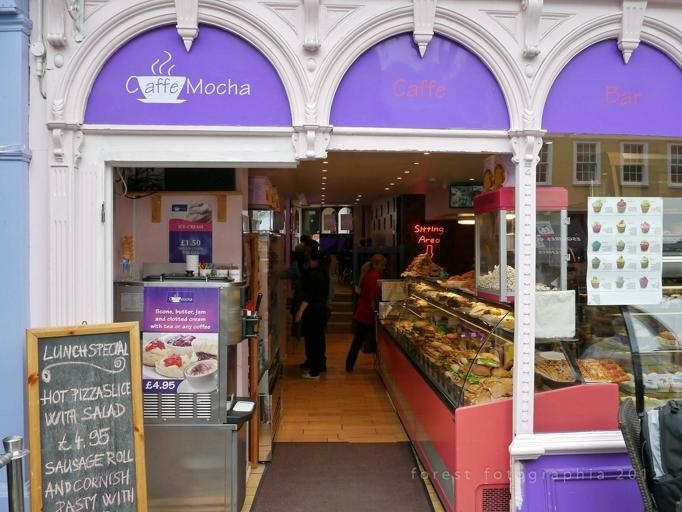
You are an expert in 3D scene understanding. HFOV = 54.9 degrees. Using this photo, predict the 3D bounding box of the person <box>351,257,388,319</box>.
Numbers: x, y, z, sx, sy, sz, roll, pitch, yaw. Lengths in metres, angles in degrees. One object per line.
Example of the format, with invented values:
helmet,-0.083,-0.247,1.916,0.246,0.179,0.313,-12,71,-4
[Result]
person,0.380,0.449,8.951,0.441,0.924,0.531,-3,4,2

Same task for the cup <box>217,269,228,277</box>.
cup,-0.908,0.133,4.993,0.055,0.038,0.059,0,4,0

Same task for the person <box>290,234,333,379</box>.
person,-0.361,0.686,8.678,0.454,1.786,0.673,-3,4,-2

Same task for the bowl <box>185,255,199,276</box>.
bowl,-1.121,0.073,4.952,0.083,0.144,0.113,-4,5,-12

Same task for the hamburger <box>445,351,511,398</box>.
hamburger,1.043,0.880,4.978,0.429,0.319,0.461,-4,5,-4

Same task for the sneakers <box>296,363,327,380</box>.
sneakers,-0.437,1.546,8.726,0.133,0.166,0.363,-3,10,-38
